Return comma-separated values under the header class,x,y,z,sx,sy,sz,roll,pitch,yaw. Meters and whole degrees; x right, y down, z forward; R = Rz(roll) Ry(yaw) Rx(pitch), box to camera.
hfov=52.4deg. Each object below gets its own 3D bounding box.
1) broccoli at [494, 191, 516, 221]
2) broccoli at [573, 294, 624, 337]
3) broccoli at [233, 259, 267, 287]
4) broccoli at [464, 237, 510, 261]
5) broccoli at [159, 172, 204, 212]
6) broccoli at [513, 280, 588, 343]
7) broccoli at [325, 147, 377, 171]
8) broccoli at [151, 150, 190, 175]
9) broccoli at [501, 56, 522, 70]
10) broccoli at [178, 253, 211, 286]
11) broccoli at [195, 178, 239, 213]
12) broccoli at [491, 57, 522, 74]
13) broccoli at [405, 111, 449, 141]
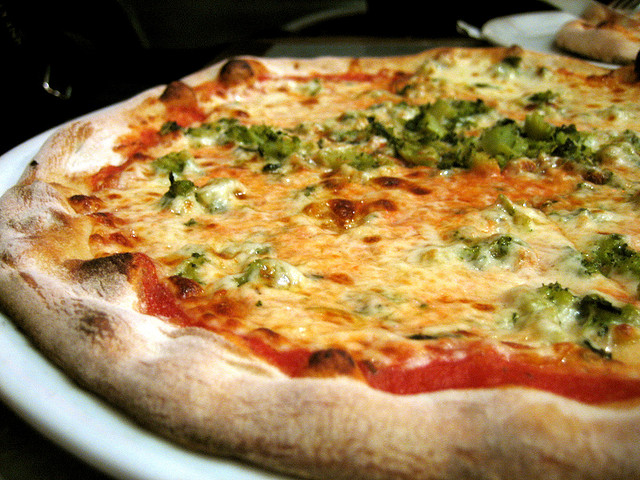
class,x,y,z,sx,sy,sz,roll,pitch,yaw
broccoli,0.624,-0.108,2.202,0.099,0.038,0.111,20,27,4
broccoli,0.750,0.200,1.738,0.161,0.036,0.133,-3,30,-11
broccoli,-0.199,0.095,1.943,0.056,0.107,0.032,52,-3,35
broccoli,0.509,0.029,1.979,0.117,0.032,0.081,-10,4,-29
broccoli,-0.503,-0.171,2.297,0.134,0.125,0.048,-4,5,4
broccoli,0.625,0.192,1.747,0.169,0.034,0.147,0,37,5
broccoli,0.143,-0.319,2.599,0.155,0.032,0.132,6,26,12
broccoli,-0.589,-0.304,2.560,0.118,0.030,0.116,12,24,38
broccoli,0.989,-0.907,3.340,0.095,0.072,0.023,-2,31,-4
broccoli,-0.392,0.082,1.975,0.088,0.111,0.025,25,47,-33
broccoli,-0.369,-0.157,2.363,0.152,0.044,0.126,1,33,11
broccoli,0.967,-0.889,3.339,0.119,0.029,0.114,23,45,40
broccoli,0.472,-0.507,2.877,0.177,0.041,0.168,-25,41,-26
